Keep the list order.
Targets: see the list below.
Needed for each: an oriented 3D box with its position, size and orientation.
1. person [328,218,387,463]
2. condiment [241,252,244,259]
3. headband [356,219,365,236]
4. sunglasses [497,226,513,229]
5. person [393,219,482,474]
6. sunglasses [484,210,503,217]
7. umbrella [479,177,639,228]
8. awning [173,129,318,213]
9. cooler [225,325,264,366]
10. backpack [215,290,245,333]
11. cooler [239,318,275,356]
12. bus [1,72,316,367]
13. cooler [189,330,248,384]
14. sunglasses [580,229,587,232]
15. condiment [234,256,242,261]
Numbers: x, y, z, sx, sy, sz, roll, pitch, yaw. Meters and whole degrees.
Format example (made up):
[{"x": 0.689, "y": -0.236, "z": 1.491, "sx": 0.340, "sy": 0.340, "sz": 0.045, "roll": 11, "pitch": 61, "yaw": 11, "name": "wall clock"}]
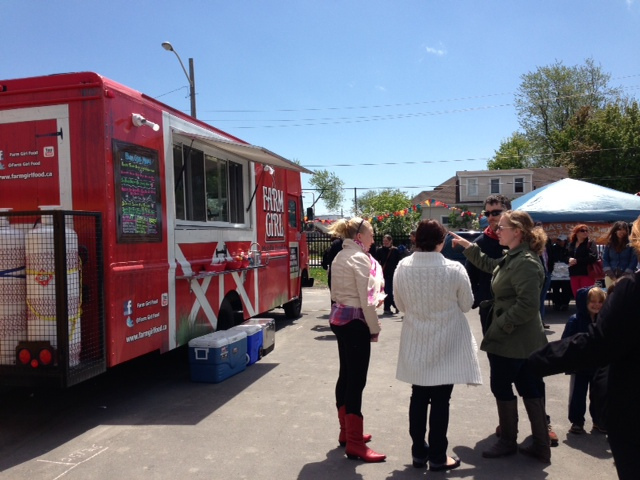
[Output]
[{"x": 0.357, "y": 0.919, "z": 5.697, "sx": 0.526, "sy": 2.233, "sz": 0.680, "roll": 0, "pitch": 5, "yaw": -2, "name": "person"}, {"x": -1.144, "y": 0.211, "z": 8.630, "sx": 0.044, "sy": 0.051, "sz": 0.047, "roll": 1, "pitch": 3, "yaw": 17, "name": "condiment"}, {"x": 0.401, "y": -0.126, "z": 5.800, "sx": 0.087, "sy": 0.138, "sz": 0.037, "roll": -5, "pitch": 7, "yaw": -44, "name": "headband"}, {"x": 1.749, "y": -0.117, "z": 5.552, "sx": 0.127, "sy": 0.026, "sz": 0.038, "roll": 3, "pitch": 6, "yaw": 32, "name": "sunglasses"}, {"x": 1.044, "y": 0.953, "z": 5.332, "sx": 0.771, "sy": 2.257, "sz": 0.393, "roll": 0, "pitch": 5, "yaw": 8, "name": "person"}, {"x": 1.965, "y": -0.307, "z": 6.771, "sx": 0.113, "sy": 0.085, "sz": 0.282, "roll": -2, "pitch": 6, "yaw": -14, "name": "sunglasses"}, {"x": 6.066, "y": -0.903, "z": 14.261, "sx": 2.641, "sy": 0.978, "sz": 2.615, "roll": 1, "pitch": 6, "yaw": 16, "name": "umbrella"}, {"x": -1.008, "y": -0.952, "z": 8.913, "sx": 1.293, "sy": 0.815, "sz": 3.457, "roll": 6, "pitch": 2, "yaw": 9, "name": "awning"}, {"x": -1.042, "y": 1.415, "z": 8.317, "sx": 0.394, "sy": 0.597, "sz": 0.767, "roll": 0, "pitch": 0, "yaw": 15, "name": "cooler"}, {"x": -1.303, "y": 1.013, "z": 8.364, "sx": 0.182, "sy": 0.576, "sz": 0.542, "roll": 1, "pitch": 2, "yaw": 7, "name": "backpack"}, {"x": -0.915, "y": 1.444, "z": 8.811, "sx": 0.427, "sy": 0.541, "sz": 0.515, "roll": -1, "pitch": 0, "yaw": 17, "name": "cooler"}, {"x": -2.074, "y": -0.062, "z": 6.853, "sx": 2.288, "sy": 2.157, "sz": 4.176, "roll": 2, "pitch": 3, "yaw": 11, "name": "bus"}, {"x": -1.336, "y": 1.528, "z": 7.806, "sx": 0.452, "sy": 0.572, "sz": 0.827, "roll": -1, "pitch": 1, "yaw": 24, "name": "cooler"}, {"x": 4.958, "y": -0.175, "z": 11.089, "sx": 0.119, "sy": 0.045, "sz": 0.069, "roll": 2, "pitch": 6, "yaw": 26, "name": "sunglasses"}, {"x": -1.166, "y": 0.264, "z": 8.406, "sx": 0.046, "sy": 0.071, "sz": 0.150, "roll": 4, "pitch": 7, "yaw": 41, "name": "condiment"}]
